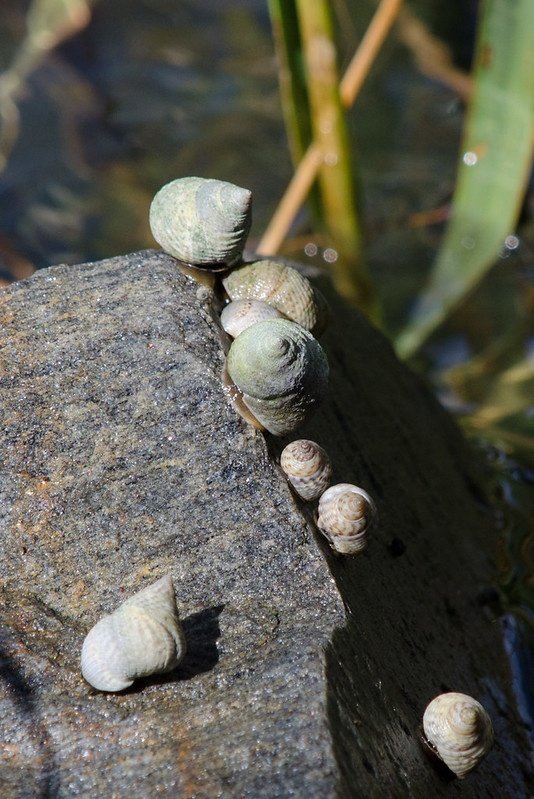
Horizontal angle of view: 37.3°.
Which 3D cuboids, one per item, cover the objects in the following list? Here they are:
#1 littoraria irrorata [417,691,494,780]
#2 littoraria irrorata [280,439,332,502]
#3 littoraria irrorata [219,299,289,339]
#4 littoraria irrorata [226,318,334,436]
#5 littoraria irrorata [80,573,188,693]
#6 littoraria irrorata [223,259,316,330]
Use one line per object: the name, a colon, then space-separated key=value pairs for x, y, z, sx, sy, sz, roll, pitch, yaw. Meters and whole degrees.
littoraria irrorata: x=0.244 y=0.428 z=1.014 sx=0.102 sy=0.049 sz=0.100 roll=-14 pitch=87 yaw=-44
littoraria irrorata: x=0.056 y=0.100 z=1.148 sx=0.081 sy=0.079 sz=0.037 roll=-8 pitch=19 yaw=15
littoraria irrorata: x=-0.036 y=-0.133 z=1.239 sx=0.077 sy=0.021 sz=0.075 roll=27 pitch=49 yaw=30
littoraria irrorata: x=0.014 y=-0.030 z=1.087 sx=0.149 sy=0.074 sz=0.148 roll=6 pitch=92 yaw=1
littoraria irrorata: x=-0.160 y=0.289 z=0.966 sx=0.149 sy=0.062 sz=0.101 roll=-27 pitch=66 yaw=-22
littoraria irrorata: x=0.006 y=-0.158 z=1.336 sx=0.140 sy=0.043 sz=0.126 roll=17 pitch=43 yaw=-14
